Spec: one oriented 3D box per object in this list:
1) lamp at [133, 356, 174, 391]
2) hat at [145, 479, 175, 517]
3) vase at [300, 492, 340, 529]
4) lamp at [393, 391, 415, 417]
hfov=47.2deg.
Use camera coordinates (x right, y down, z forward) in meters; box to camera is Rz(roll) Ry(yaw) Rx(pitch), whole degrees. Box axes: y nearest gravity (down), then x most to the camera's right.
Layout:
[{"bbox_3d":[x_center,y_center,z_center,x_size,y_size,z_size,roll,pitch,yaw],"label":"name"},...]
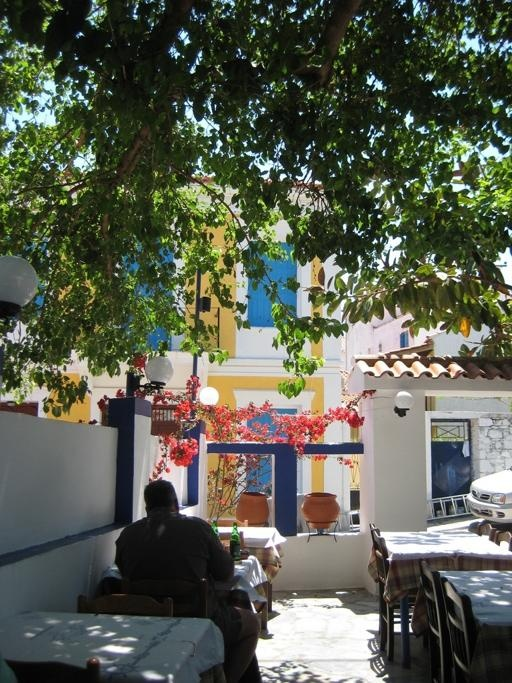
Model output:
[{"bbox_3d":[-0.963,0.301,5.498,0.310,0.338,0.476,1,-6,-12],"label":"lamp"},{"bbox_3d":[-0.616,1.005,3.780,0.197,0.277,0.211,0,0,-3],"label":"hat"},{"bbox_3d":[0.824,2.283,8.048,0.503,0.408,0.473,1,-5,-20],"label":"vase"},{"bbox_3d":[1.916,0.821,7.623,0.253,0.341,0.478,-2,-6,13],"label":"lamp"}]
